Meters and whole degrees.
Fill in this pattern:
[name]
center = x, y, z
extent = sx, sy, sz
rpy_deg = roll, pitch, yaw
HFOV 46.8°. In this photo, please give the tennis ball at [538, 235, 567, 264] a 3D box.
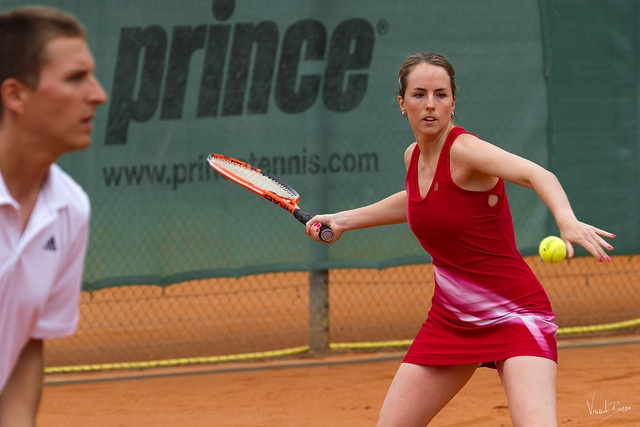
[tennis ball]
center = 1.293, 0.201, 4.128
extent = 0.137, 0.153, 0.144
rpy_deg = -10, 14, 3
